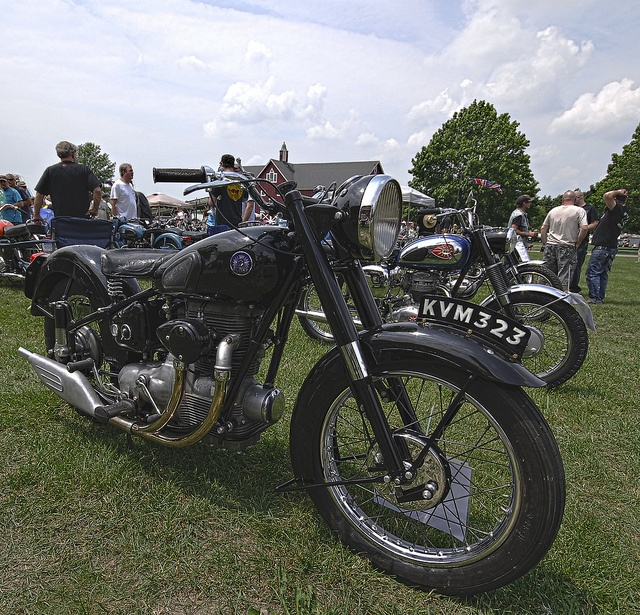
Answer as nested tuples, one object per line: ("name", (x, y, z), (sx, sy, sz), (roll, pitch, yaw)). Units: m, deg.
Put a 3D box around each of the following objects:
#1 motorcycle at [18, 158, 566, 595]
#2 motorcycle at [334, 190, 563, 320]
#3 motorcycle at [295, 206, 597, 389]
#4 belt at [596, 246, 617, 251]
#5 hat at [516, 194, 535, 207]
("motorcycle", (-0.482, 0.152, 2.505), (3.057, 1.603, 1.168), (13, 17, 29))
("motorcycle", (1.259, -0.409, 5.080), (2.011, 1.204, 1.236), (0, 6, 24))
("motorcycle", (0.914, -0.207, 4.847), (2.943, 1.461, 1.247), (10, 8, 34))
("belt", (4.570, -0.954, 8.335), (0.244, 0.065, 0.147), (12, 15, 23))
("hat", (3.630, -1.897, 9.074), (0.314, 0.151, 0.216), (-31, 20, -23))
